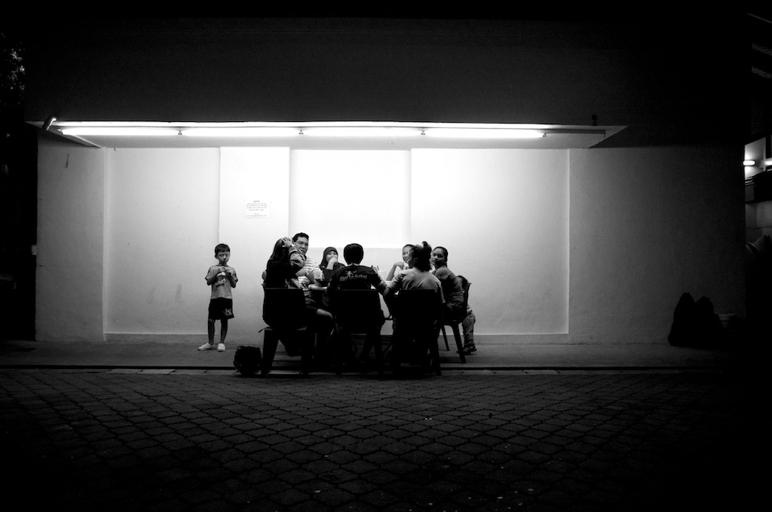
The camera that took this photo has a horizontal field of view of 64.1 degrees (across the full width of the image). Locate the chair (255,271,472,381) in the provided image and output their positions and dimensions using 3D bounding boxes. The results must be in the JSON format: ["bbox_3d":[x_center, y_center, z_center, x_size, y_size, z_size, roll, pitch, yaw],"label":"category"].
[{"bbox_3d":[-0.634,1.007,9.427,3.118,1.421,0.995,1,10,0],"label":"chair"}]

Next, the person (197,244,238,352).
[{"bbox_3d":[-2.946,0.692,10.731,0.637,1.841,0.960,-2,10,-17],"label":"person"}]

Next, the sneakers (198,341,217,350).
[{"bbox_3d":[-3.091,1.544,10.653,0.278,0.110,0.124,4,-7,-30],"label":"sneakers"}]
